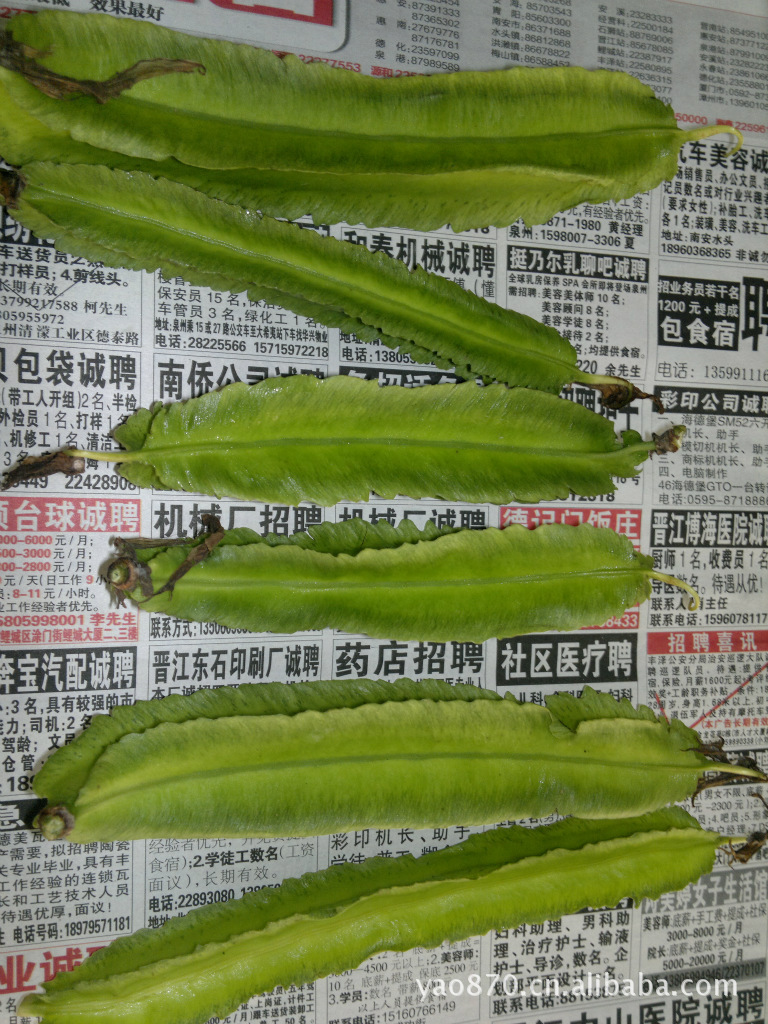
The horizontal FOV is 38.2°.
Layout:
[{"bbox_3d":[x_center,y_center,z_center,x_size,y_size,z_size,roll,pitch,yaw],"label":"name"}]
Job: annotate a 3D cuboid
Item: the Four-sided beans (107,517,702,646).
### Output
[{"bbox_3d":[0.009,0.089,1.318,0.745,0.074,0.189,1,62,-11],"label":"Four-sided beans"}]
